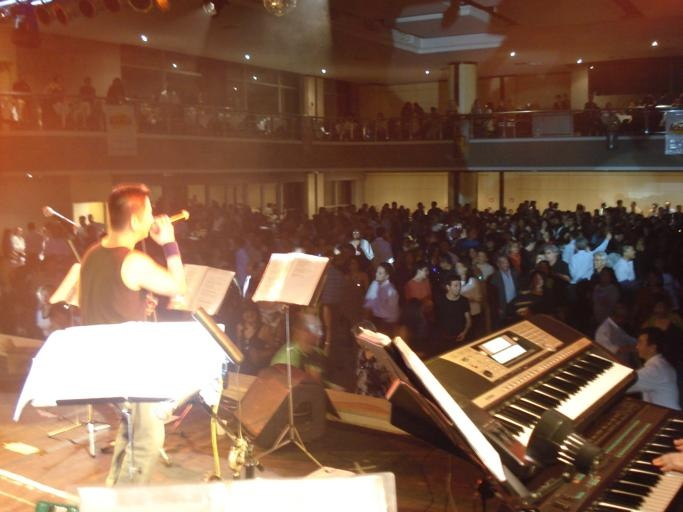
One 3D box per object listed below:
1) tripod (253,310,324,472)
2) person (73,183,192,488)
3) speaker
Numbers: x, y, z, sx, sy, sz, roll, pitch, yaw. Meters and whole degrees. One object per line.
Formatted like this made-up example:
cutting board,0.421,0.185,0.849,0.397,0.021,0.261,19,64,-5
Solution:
tripod,-0.456,0.967,4.785,0.494,1.190,1.477,0,4,-8
person,-1.230,0.513,3.486,0.605,1.877,0.713,-1,4,-25
speaker,-0.513,1.283,4.830,0.618,0.467,0.591,-12,18,-33
